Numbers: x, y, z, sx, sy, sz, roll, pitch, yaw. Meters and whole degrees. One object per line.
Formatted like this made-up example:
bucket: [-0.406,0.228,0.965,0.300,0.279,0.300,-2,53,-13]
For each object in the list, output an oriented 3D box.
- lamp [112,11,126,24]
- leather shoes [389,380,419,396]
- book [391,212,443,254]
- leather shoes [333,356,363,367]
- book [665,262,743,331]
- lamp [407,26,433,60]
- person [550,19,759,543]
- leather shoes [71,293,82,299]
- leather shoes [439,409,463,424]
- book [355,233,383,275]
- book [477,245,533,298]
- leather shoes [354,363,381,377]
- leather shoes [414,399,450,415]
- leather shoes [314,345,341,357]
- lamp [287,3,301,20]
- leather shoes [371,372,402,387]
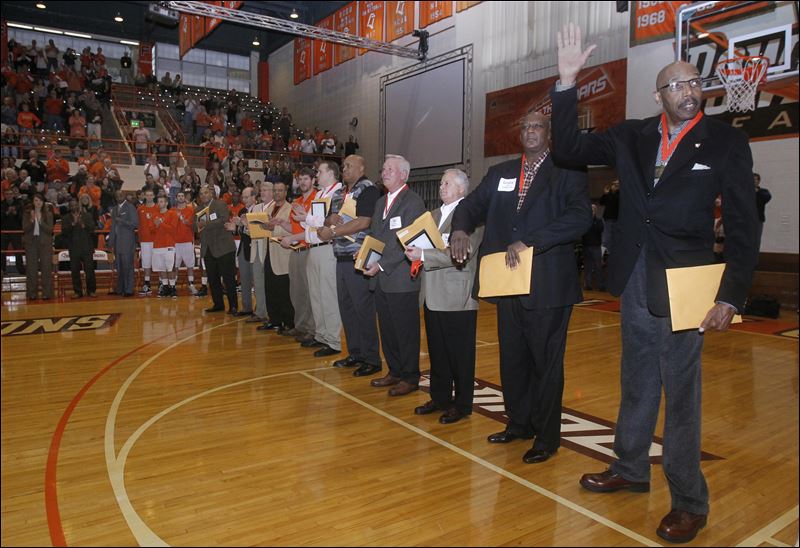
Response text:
lamp: [-9.626,-8.710,20.778,0.223,0.229,0.202,4,-18,-9]
leather shoes: [0.022,1.000,5.364,0.234,0.095,0.123,5,-8,-26]
book: [0.168,-0.342,4.766,0.371,0.292,0.161,1,10,5]
leather shoes: [-0.523,0.874,6.094,0.283,0.108,0.105,5,-3,-10]
book: [1.782,0.136,3.565,0.429,0.406,0.043,0,-4,12]
lamp: [0.528,-5.906,15.677,0.396,0.753,0.541,1,11,7]
person: [1.532,0.005,3.751,1.121,3.020,0.597,7,12,31]
leather shoes: [-5.396,0.363,10.169,0.084,0.086,0.199,1,-7,-13]
leather shoes: [0.407,1.125,4.820,0.210,0.083,0.080,8,-11,-36]
book: [-0.262,-0.176,5.235,0.251,0.310,0.139,-1,10,-6]
book: [0.739,-0.015,4.222,0.046,0.240,0.342,11,-12,-35]
leather shoes: [-0.317,0.928,5.895,0.271,0.109,0.107,6,-8,-35]
leather shoes: [0.249,1.088,5.025,0.311,0.126,0.113,5,-6,-17]
leather shoes: [-0.793,0.818,6.496,0.304,0.122,0.111,5,-6,-23]
lamp: [-3.392,-8.263,19.456,0.316,0.353,0.326,-6,-15,33]
leather shoes: [-0.126,0.959,5.581,0.237,0.096,0.120,4,-3,-15]
